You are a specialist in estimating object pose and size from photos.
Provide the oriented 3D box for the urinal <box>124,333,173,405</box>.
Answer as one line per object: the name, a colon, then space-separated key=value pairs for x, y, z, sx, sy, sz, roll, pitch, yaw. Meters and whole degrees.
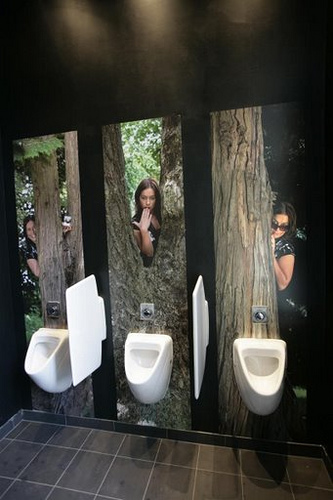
urinal: x=-0.103 y=0.696 z=1.983 sx=0.275 sy=0.335 sz=0.379 roll=-2 pitch=6 yaw=2

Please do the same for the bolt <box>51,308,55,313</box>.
bolt: x=-0.748 y=0.398 z=2.304 sx=0.027 sy=0.024 sz=0.001 roll=0 pitch=5 yaw=17

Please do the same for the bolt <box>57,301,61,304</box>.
bolt: x=-0.710 y=0.348 z=2.294 sx=0.019 sy=0.016 sz=0.006 roll=0 pitch=6 yaw=18

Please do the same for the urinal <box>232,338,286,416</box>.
urinal: x=0.492 y=0.682 z=1.868 sx=0.216 sy=0.227 sz=0.345 roll=3 pitch=37 yaw=15

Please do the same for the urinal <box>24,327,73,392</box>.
urinal: x=-0.772 y=0.697 z=2.166 sx=0.211 sy=0.291 sz=0.196 roll=-25 pitch=2 yaw=-25
